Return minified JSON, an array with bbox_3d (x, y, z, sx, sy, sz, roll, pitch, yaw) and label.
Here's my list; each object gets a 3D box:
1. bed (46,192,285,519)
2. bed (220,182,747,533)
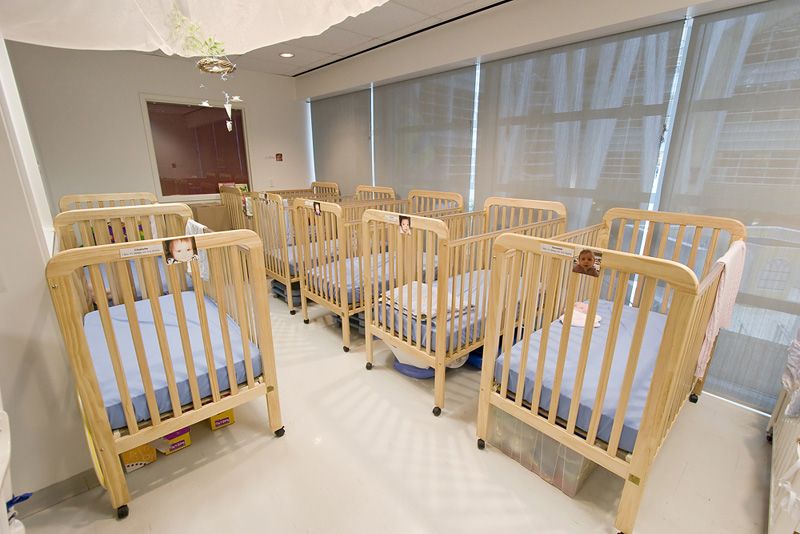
[{"bbox_3d":[-1.817,0.202,3.920,1.382,1.630,2.265,-13,24,-33],"label":"bed"},{"bbox_3d":[0.842,0.234,3.956,1.724,1.502,2.972,-16,27,-36],"label":"bed"}]
